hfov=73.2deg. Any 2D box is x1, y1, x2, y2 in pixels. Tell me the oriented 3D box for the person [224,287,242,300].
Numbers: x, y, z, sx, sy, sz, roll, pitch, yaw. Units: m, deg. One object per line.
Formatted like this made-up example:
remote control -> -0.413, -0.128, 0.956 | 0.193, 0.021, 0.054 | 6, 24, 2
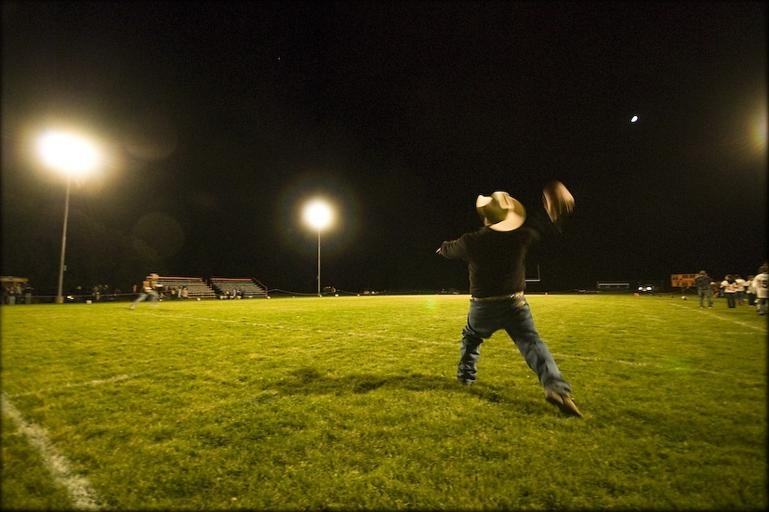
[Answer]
person -> -12.070, 3.008, 41.272 | 1.136, 0.450, 0.915 | 1, 3, 41
